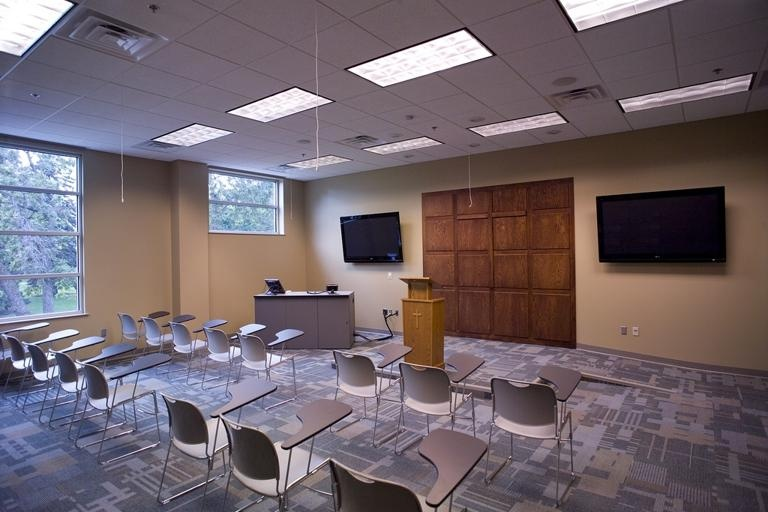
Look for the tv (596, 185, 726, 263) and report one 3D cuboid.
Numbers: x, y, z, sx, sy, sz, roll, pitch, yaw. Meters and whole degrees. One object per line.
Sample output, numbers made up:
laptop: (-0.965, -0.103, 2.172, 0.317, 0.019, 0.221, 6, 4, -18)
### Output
tv: (4.770, -0.521, 7.851, 1.869, 1.218, 0.076, 0, 4, 29)
